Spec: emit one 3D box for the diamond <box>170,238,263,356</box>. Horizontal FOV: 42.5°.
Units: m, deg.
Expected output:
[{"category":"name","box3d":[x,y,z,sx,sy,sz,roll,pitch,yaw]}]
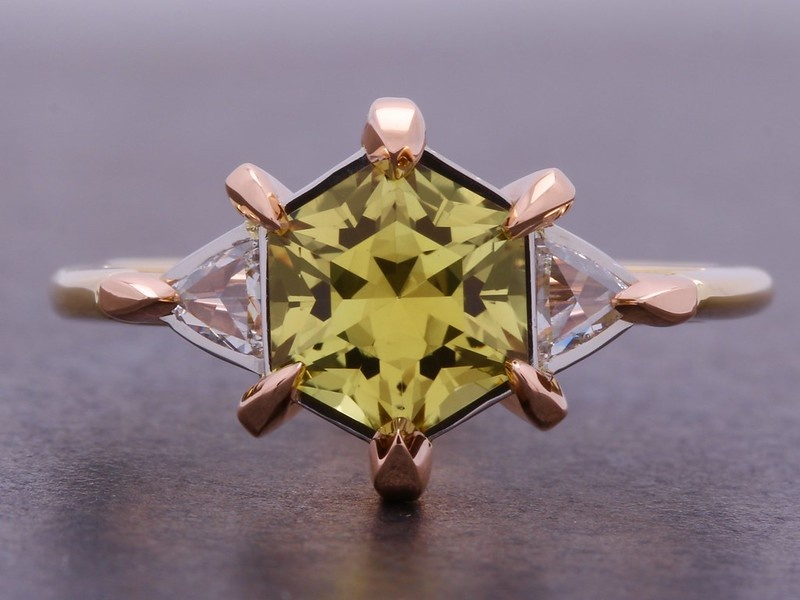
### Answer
[{"category":"diamond","box3d":[-0.220,-0.018,1.208,0.163,0.049,0.118,-7,48,-14]}]
